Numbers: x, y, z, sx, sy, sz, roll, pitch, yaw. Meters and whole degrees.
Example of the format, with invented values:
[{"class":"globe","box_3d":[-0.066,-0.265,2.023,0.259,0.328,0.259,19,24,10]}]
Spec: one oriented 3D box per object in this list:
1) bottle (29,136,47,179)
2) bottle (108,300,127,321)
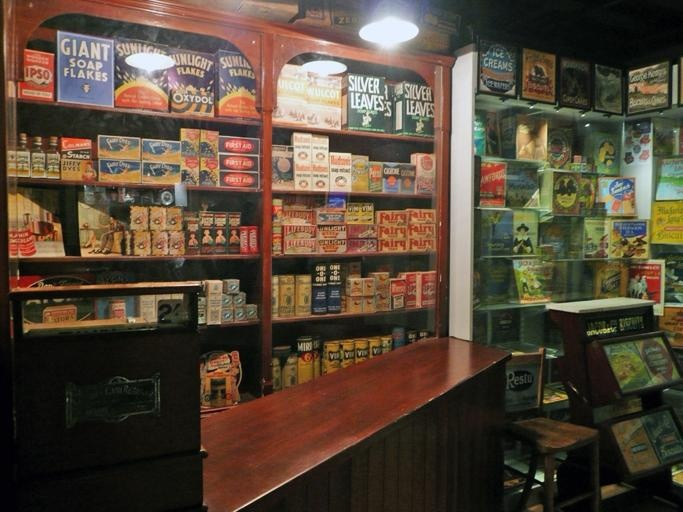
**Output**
[{"class":"bottle","box_3d":[-1.454,-0.473,2.843,0.076,0.194,0.042,-11,15,-25]},{"class":"bottle","box_3d":[-0.820,0.199,2.178,0.058,0.095,0.057,1,-3,0]}]
